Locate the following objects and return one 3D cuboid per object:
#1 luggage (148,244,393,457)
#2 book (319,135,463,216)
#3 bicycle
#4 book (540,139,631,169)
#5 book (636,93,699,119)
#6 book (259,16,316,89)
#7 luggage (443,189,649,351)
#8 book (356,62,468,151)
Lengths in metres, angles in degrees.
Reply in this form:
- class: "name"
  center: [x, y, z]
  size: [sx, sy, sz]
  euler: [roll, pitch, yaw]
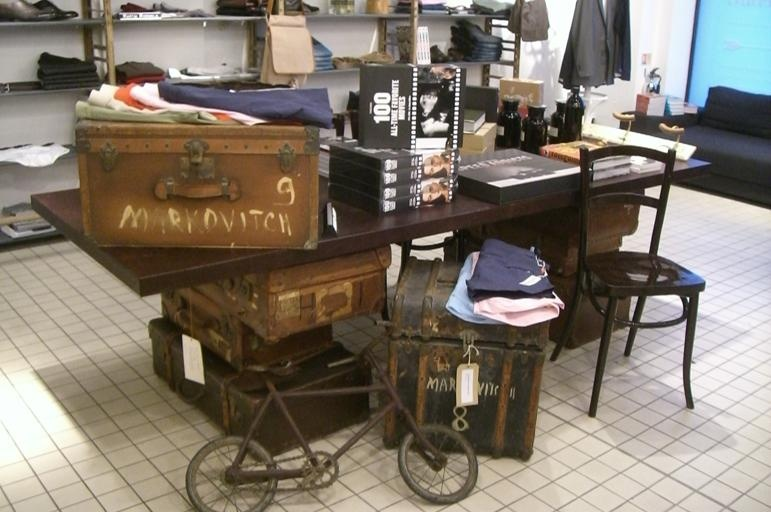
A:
- class: "luggage"
  center: [-0.637, 0.360, 3.667]
  size: [1.322, 1.004, 1.048]
  euler: [-14, 27, -39]
- class: "book"
  center: [0.085, -0.520, 3.416]
  size: [0.487, 0.235, 0.482]
  euler: [-17, 28, -38]
- class: "bicycle"
  center: [-0.189, 0.925, 3.237]
  size: [1.506, 0.699, 0.826]
  euler: [-7, 68, -7]
- class: "book"
  center: [1.252, -0.658, 4.092]
  size: [0.310, 0.064, 0.305]
  euler: [-15, 27, -31]
- class: "book"
  center: [3.509, -1.877, 7.947]
  size: [0.458, 0.153, 0.459]
  euler: [0, 12, -7]
- class: "book"
  center: [-0.829, -1.718, 5.320]
  size: [0.438, 0.544, 0.189]
  euler: [-7, 24, -14]
- class: "luggage"
  center: [1.054, -0.131, 4.541]
  size: [0.942, 1.230, 1.255]
  euler: [-9, 21, -22]
- class: "book"
  center: [0.146, -0.798, 3.359]
  size: [0.526, 0.474, 0.123]
  euler: [2, 9, -4]
